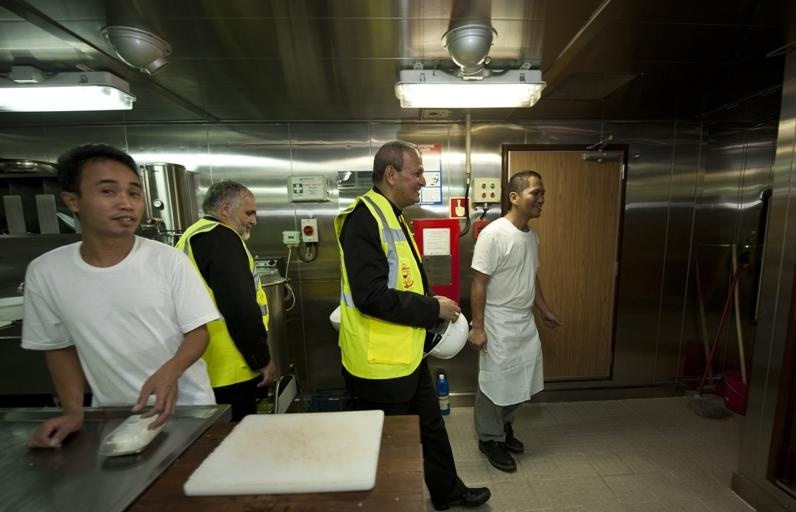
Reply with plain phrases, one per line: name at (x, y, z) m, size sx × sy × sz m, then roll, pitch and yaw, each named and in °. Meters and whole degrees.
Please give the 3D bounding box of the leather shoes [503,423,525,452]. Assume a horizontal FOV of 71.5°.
leather shoes at (0.968, 1.569, 4.764) m, size 0.111 × 0.170 × 0.287 m, roll 0°, pitch -1°, yaw -8°

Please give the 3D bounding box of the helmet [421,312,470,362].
helmet at (0.347, 0.592, 3.916) m, size 0.173 × 0.327 × 0.261 m, roll 38°, pitch -17°, yaw -3°

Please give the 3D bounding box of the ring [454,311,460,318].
ring at (0.411, 0.410, 3.849) m, size 0.029 × 0.036 × 0.014 m, roll 6°, pitch -31°, yaw -3°

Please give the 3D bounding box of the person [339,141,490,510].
person at (0.031, 0.586, 3.857) m, size 0.890 × 2.735 × 0.473 m, roll -3°, pitch 9°, yaw -7°

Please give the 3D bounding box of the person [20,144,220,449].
person at (-1.777, 0.174, 3.327) m, size 1.175 × 1.676 × 0.482 m, roll -2°, pitch 9°, yaw -2°
